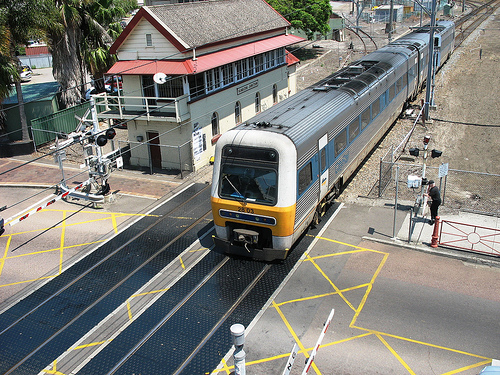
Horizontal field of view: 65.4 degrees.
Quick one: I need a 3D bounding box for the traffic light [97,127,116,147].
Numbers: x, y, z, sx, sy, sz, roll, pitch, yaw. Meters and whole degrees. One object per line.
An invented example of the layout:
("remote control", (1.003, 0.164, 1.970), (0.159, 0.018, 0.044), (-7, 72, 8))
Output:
("traffic light", (-6.972, -2.478, 19.039), (0.909, 0.921, 1.324), (-4, 16, -5))
